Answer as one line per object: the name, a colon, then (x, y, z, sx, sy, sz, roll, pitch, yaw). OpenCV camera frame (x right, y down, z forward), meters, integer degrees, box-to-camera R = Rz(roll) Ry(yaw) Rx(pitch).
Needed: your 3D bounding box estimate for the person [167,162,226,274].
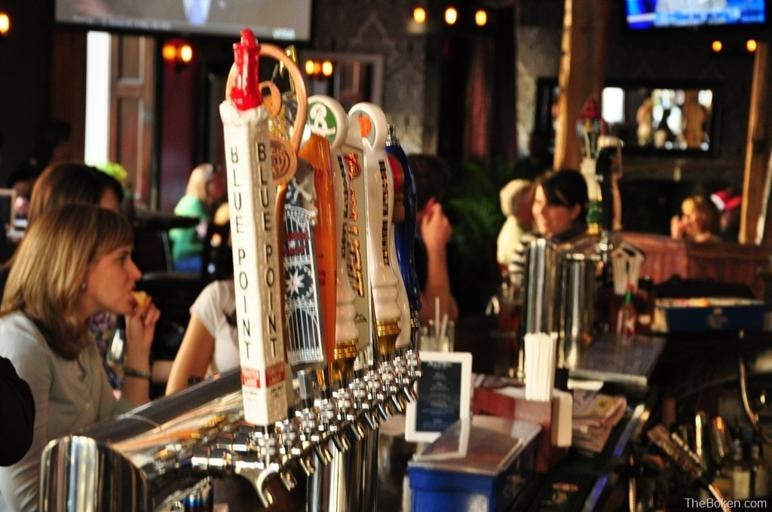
person: (-1.648, -0.344, 8.439, 0.430, 0.912, 0.501, 1, 3, -17)

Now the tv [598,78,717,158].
tv: (1.370, -0.685, 4.977, 0.611, 0.461, 0.059, 2, -9, 12)

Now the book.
book: (0.658, 0.609, 3.781, 0.418, 0.179, 0.315, -3, 6, -43)
